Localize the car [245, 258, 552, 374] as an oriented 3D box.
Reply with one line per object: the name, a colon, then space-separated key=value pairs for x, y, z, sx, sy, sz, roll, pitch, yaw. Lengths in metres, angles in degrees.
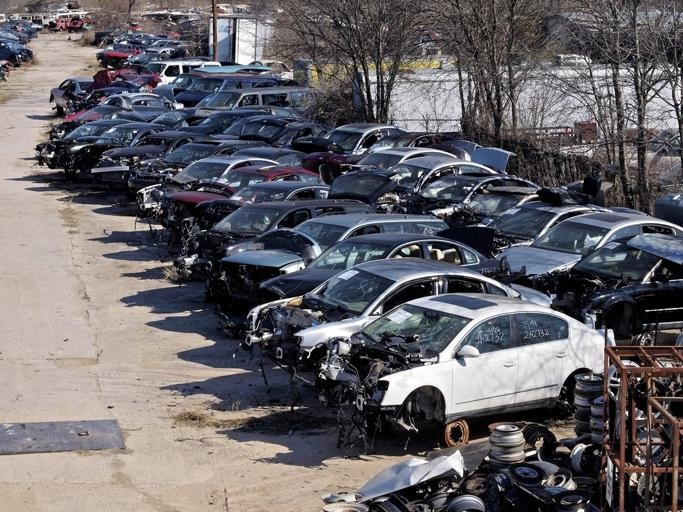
car: x=1.179 y=0.898 z=21.860 sx=5.768 sy=1.201 sz=2.118 roll=-7 pitch=24 yaw=-24

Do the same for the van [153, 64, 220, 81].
van: x=-7.284 y=-8.737 z=52.883 sx=3.055 sy=0.896 sz=1.419 roll=-1 pitch=10 yaw=-12

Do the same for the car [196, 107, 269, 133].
car: x=-3.784 y=-4.518 z=37.903 sx=2.608 sy=0.564 sz=1.087 roll=-4 pitch=13 yaw=-34

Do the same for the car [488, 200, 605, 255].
car: x=4.356 y=-0.692 z=26.648 sx=3.121 sy=0.656 sz=1.153 roll=-8 pitch=13 yaw=-27

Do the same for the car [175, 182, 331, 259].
car: x=-2.314 y=-1.044 z=27.258 sx=4.226 sy=0.912 sz=1.769 roll=-5 pitch=10 yaw=-33

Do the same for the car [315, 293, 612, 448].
car: x=2.084 y=1.676 z=20.621 sx=5.864 sy=1.358 sz=2.366 roll=-4 pitch=20 yaw=-38

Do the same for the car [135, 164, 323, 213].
car: x=-2.749 y=-1.680 z=28.545 sx=3.722 sy=0.719 sz=2.757 roll=-14 pitch=16 yaw=-34

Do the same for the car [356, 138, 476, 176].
car: x=2.030 y=-2.905 z=32.528 sx=3.244 sy=0.664 sz=1.297 roll=-4 pitch=7 yaw=-31
